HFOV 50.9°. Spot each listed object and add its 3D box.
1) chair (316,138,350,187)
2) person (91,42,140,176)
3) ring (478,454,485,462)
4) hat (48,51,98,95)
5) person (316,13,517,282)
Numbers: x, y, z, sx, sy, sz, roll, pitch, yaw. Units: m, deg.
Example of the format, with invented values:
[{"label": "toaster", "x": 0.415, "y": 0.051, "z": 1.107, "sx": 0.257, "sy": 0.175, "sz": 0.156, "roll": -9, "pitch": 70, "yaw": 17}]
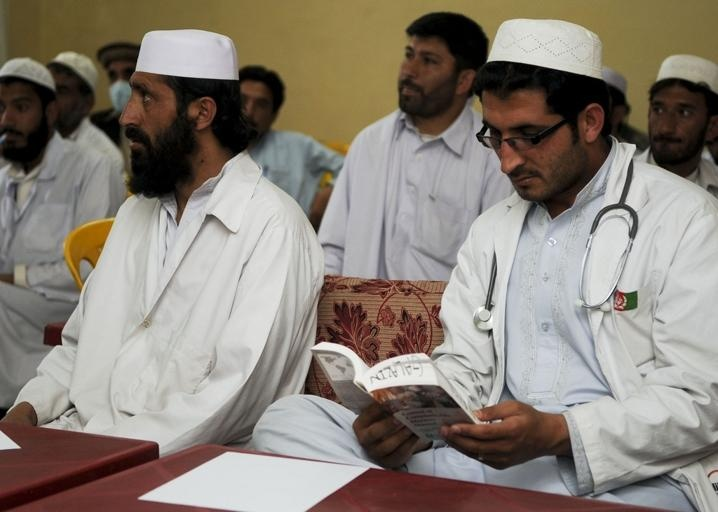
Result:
[{"label": "chair", "x": -0.295, "y": -0.854, "z": 6.875, "sx": 0.332, "sy": 0.467, "sz": 0.420, "roll": 4, "pitch": -3, "yaw": 13}, {"label": "person", "x": -2.189, "y": -1.406, "z": 6.963, "sx": 0.416, "sy": 1.142, "sz": 0.368, "roll": -12, "pitch": 30, "yaw": -30}, {"label": "ring", "x": 0.397, "y": 0.655, "z": 2.440, "sx": 0.020, "sy": 0.012, "sz": 0.030, "roll": 3, "pitch": -13, "yaw": 2}, {"label": "hat", "x": -1.659, "y": -1.110, "z": 4.359, "sx": 0.173, "sy": 0.137, "sz": 0.247, "roll": 14, "pitch": 2, "yaw": -13}, {"label": "person", "x": 0.350, "y": -0.515, "z": 4.450, "sx": 1.136, "sy": 1.827, "sz": 0.971, "roll": 6, "pitch": -15, "yaw": 15}]
